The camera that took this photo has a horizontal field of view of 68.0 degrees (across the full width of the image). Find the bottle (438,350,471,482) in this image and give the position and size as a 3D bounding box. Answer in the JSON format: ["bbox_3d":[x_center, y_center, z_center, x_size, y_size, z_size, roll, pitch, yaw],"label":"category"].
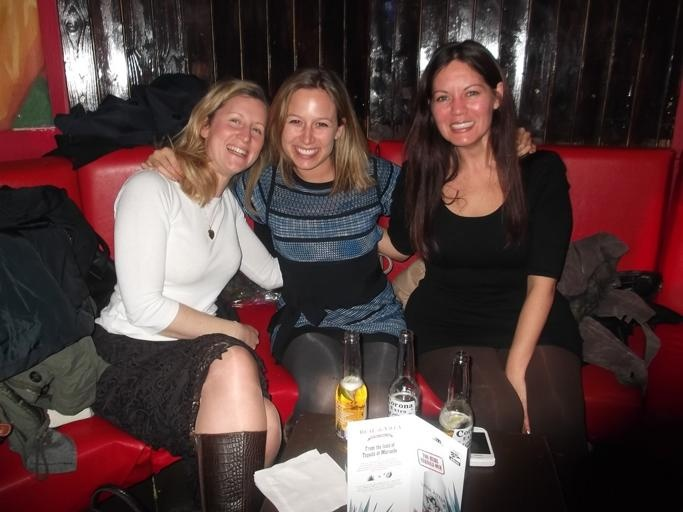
[{"bbox_3d":[0.349,0.437,1.523,0.099,0.281,0.090,-4,16,-11],"label":"bottle"}]

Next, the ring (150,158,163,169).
[{"bbox_3d":[-0.749,-0.378,2.054,0.043,0.046,0.014,-6,-17,24],"label":"ring"}]

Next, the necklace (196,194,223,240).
[{"bbox_3d":[-0.530,-0.172,2.113,0.088,0.163,0.037,2,1,-33],"label":"necklace"}]

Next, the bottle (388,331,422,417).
[{"bbox_3d":[0.199,0.362,1.595,0.096,0.269,0.133,1,16,8],"label":"bottle"}]

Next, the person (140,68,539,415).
[{"bbox_3d":[0.006,-0.031,2.141,1.171,1.545,0.830,-6,15,-7],"label":"person"}]
